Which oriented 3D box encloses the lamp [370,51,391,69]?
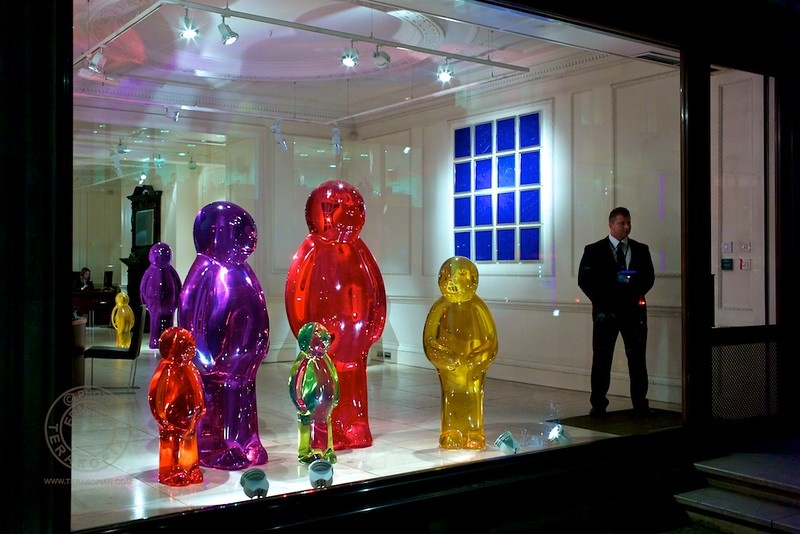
[{"bbox_3d":[-0.135,-1.448,3.878,0.111,0.113,0.119,7,7,21],"label":"lamp"}]

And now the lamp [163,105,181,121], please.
[{"bbox_3d":[-1.363,-0.918,3.334,0.053,0.091,0.091,9,4,34],"label":"lamp"}]

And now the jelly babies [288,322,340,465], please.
[{"bbox_3d":[-0.511,0.744,3.323,0.296,0.695,0.200,-2,1,-12],"label":"jelly babies"}]

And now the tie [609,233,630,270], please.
[{"bbox_3d":[1.618,-0.122,4.108,0.120,0.245,0.054,-3,-4,29],"label":"tie"}]

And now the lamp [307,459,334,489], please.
[{"bbox_3d":[-0.431,1.124,3.056,0.130,0.121,0.112,-2,1,-13],"label":"lamp"}]

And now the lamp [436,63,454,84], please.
[{"bbox_3d":[0.322,-1.404,4.046,0.133,0.125,0.229,3,16,10],"label":"lamp"}]

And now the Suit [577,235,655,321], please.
[{"bbox_3d":[1.704,0.051,4.128,0.236,0.448,0.382,-18,21,-41],"label":"Suit"}]

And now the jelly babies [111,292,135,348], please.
[{"bbox_3d":[-1.453,0.273,2.918,0.042,0.300,0.163,-1,1,7],"label":"jelly babies"}]

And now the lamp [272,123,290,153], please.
[{"bbox_3d":[-0.794,-0.863,3.709,0.070,0.156,0.172,-1,1,7],"label":"lamp"}]

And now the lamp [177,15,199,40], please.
[{"bbox_3d":[-1.373,-1.553,3.596,0.093,0.165,0.096,-11,-33,-1],"label":"lamp"}]

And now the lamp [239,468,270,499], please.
[{"bbox_3d":[-0.760,1.123,2.920,0.143,0.132,0.119,-2,1,-18],"label":"lamp"}]

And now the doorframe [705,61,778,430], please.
[{"bbox_3d":[2.512,-0.182,4.106,0.713,2.555,0.181,-2,1,-25],"label":"doorframe"}]

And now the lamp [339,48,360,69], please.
[{"bbox_3d":[-0.338,-1.423,3.826,0.106,0.108,0.130,13,9,3],"label":"lamp"}]
